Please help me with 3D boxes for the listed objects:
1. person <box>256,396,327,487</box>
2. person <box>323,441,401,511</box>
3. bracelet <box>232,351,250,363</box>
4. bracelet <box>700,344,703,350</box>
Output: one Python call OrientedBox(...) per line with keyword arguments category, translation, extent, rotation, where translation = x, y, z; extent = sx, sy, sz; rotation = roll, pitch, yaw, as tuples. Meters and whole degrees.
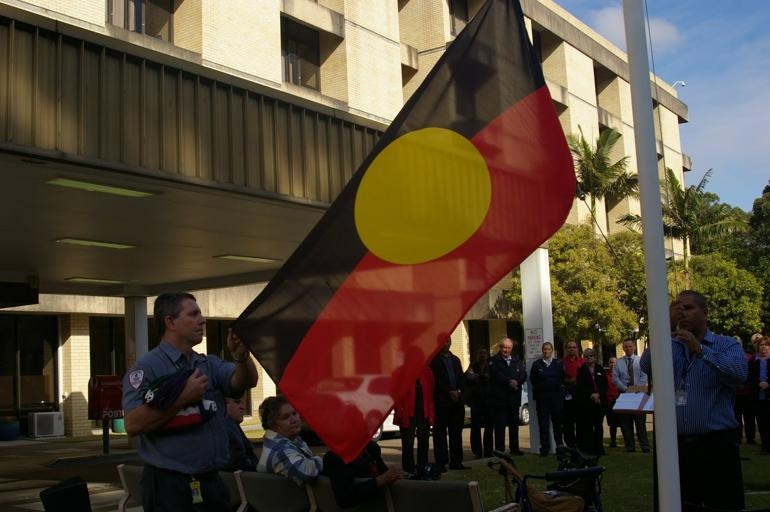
OrientedBox(category="person", translation=(-1.055, 1.976, 8.598), extent=(0.688, 0.936, 1.095), rotation=(-2, -2, -11))
OrientedBox(category="person", translation=(-0.268, 2.186, 7.803), extent=(0.380, 0.479, 1.044), rotation=(-40, -20, 12))
OrientedBox(category="bracelet", translation=(-1.297, 0.888, 7.070), extent=(0.098, 0.082, 0.105), rotation=(-1, -2, 10))
OrientedBox(category="bracelet", translation=(3.103, 0.884, 7.786), extent=(0.033, 0.050, 0.013), rotation=(8, -41, -11))
